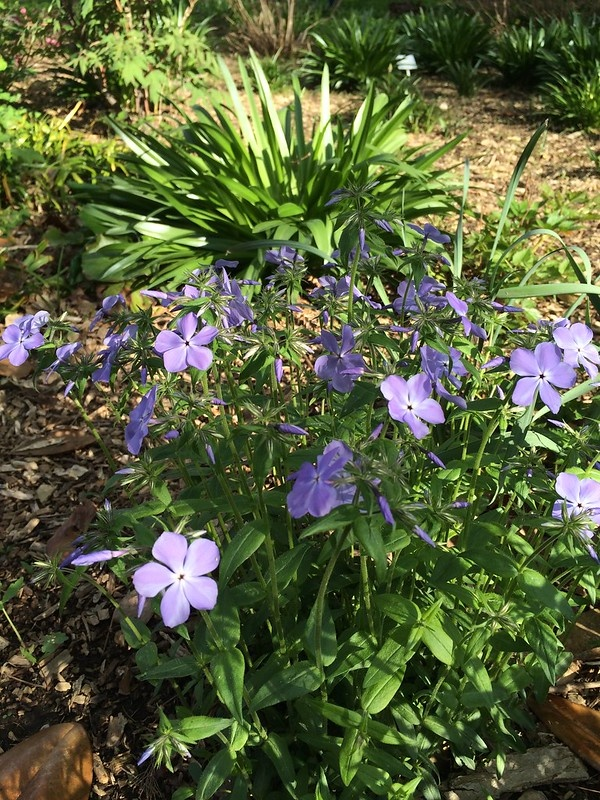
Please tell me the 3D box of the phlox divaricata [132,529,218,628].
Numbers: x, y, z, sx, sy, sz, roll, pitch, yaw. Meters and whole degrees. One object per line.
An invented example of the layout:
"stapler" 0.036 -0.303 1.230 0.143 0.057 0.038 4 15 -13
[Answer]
"phlox divaricata" -0.213 0.285 1.076 0.167 0.148 0.040 11 -12 -20
